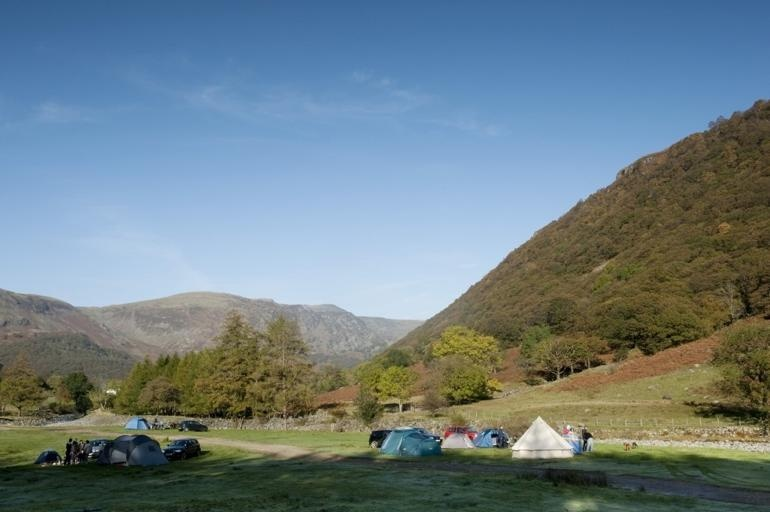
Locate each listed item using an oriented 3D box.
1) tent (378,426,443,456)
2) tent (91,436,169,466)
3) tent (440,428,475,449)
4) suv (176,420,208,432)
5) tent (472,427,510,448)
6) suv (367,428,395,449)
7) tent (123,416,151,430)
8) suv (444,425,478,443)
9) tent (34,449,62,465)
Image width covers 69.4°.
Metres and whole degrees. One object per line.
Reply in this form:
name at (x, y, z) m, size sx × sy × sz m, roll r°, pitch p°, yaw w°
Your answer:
tent at (2.750, 19.455, 57.594) m, size 4.297 × 1.072 × 3.108 m, roll -5°, pitch -11°, yaw 25°
tent at (-23.857, 19.178, 54.666) m, size 6.478 × 1.764 × 3.345 m, roll -2°, pitch -13°, yaw 11°
tent at (8.187, 20.418, 61.665) m, size 2.886 × 0.910 × 2.442 m, roll -1°, pitch -2°, yaw 6°
suv at (-28.031, 24.938, 81.356) m, size 3.318 × 1.362 × 4.463 m, roll 3°, pitch -15°, yaw -28°
tent at (11.541, 20.480, 62.315) m, size 2.347 × 0.782 × 2.943 m, roll 6°, pitch -11°, yaw -43°
suv at (-0.660, 19.788, 61.272) m, size 3.341 × 2.510 × 1.446 m, roll -3°, pitch -32°, yaw 10°
tent at (-35.077, 24.090, 79.707) m, size 3.069 × 1.453 × 2.964 m, roll -2°, pitch -4°, yaw 34°
suv at (8.551, 20.824, 64.369) m, size 4.287 × 1.467 × 2.220 m, roll -3°, pitch -7°, yaw 7°
tent at (-32.608, 19.608, 53.934) m, size 1.823 × 0.656 × 1.781 m, roll 3°, pitch -6°, yaw -33°
